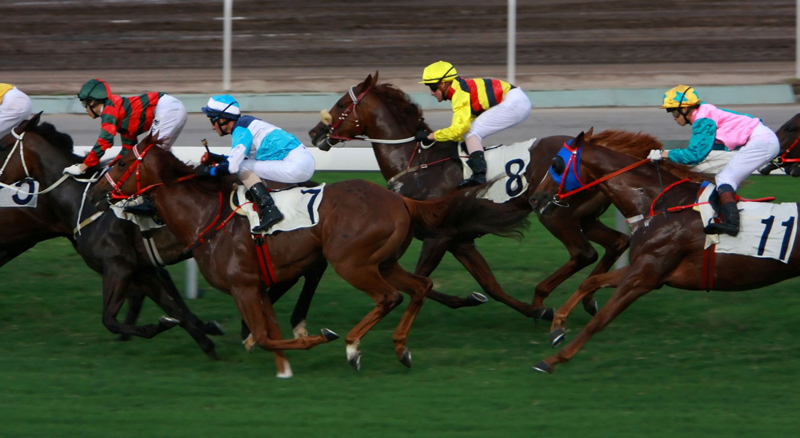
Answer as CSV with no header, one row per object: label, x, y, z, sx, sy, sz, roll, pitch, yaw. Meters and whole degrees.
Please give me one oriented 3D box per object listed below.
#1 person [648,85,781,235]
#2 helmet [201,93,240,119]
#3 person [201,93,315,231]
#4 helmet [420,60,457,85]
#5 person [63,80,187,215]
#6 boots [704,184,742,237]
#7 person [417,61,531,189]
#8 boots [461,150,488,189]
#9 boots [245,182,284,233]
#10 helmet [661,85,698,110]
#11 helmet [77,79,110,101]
person,2.555,-0.488,8.918,0.964,1.159,0.535,6,12,17
helmet,-1.458,-0.923,9.015,0.365,0.171,0.247,-2,14,-9
person,-1.154,-0.450,8.873,0.897,1.061,0.483,1,12,-6
helmet,0.347,-1.278,9.555,0.285,0.212,0.167,4,11,9
person,-2.664,-0.690,9.823,1.456,1.318,0.897,-3,-9,-6
boots,2.594,-0.079,8.767,0.347,0.374,0.143,-1,-6,29
person,0.636,-0.878,9.673,0.677,1.014,0.701,10,13,33
boots,0.631,-0.474,9.443,0.193,0.259,0.198,-13,20,-20
boots,-1.103,-0.088,8.799,0.171,0.377,0.290,-7,15,-40
helmet,2.363,-1.018,9.092,0.342,0.164,0.204,0,5,1
helmet,-2.648,-1.121,9.438,0.266,0.179,0.176,9,9,3
